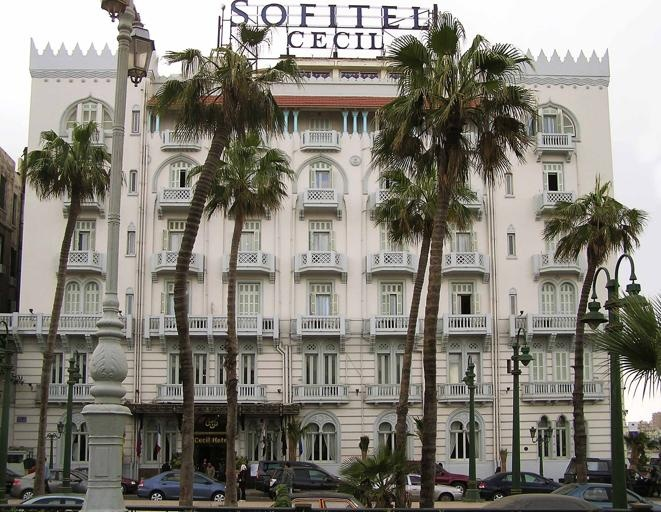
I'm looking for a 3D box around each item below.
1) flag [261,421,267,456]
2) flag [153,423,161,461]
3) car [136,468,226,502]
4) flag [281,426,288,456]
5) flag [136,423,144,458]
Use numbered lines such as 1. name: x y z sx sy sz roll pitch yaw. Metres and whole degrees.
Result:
1. flag: -4.227 11.533 73.203 0.345 2.207 0.501 1 -11 -2
2. flag: -10.957 11.715 72.835 0.445 2.230 1.473 2 -12 -9
3. car: -8.309 12.570 65.437 4.817 2.661 2.476 0 -9 -3
4. flag: -2.902 11.689 72.919 0.421 1.749 0.757 2 -12 -5
5. flag: -12.085 11.505 72.624 0.393 2.289 1.011 2 -12 -8
